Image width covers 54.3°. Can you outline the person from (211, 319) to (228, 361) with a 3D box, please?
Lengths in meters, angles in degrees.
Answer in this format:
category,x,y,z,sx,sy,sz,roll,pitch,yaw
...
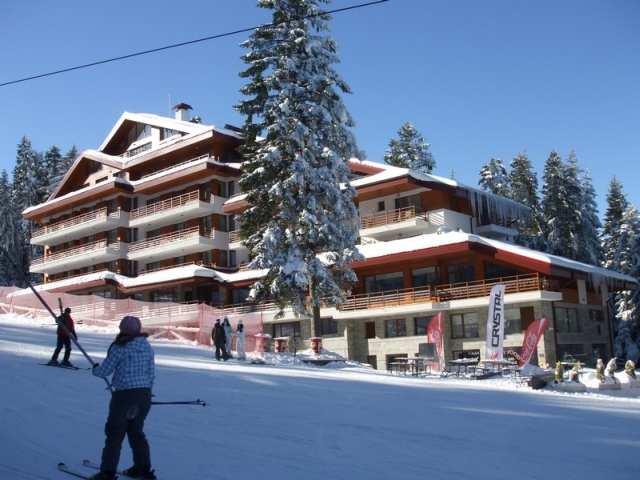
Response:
category,x,y,z,sx,sy,sz,roll,pitch,yaw
person,-4.387,4.378,27.323,0.724,1.592,2.250,4,-4,-9

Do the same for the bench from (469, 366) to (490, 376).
category,x,y,z,sx,sy,sz,roll,pitch,yaw
bench,7.607,6.212,29.761,0.554,0.258,0.799,-2,-4,-5

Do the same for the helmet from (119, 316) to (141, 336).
category,x,y,z,sx,sy,sz,roll,pitch,yaw
helmet,-3.045,1.377,10.141,0.286,0.355,0.377,0,1,-7
